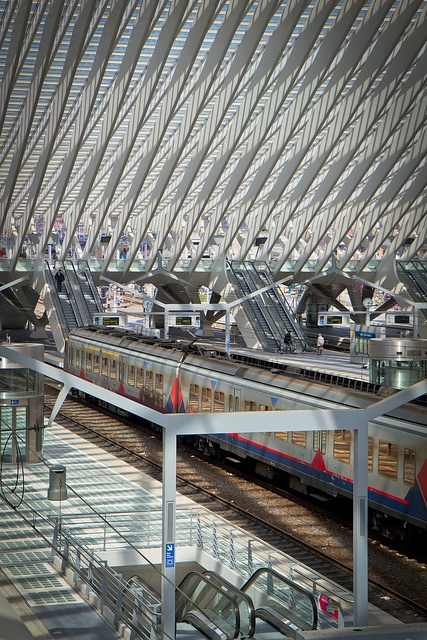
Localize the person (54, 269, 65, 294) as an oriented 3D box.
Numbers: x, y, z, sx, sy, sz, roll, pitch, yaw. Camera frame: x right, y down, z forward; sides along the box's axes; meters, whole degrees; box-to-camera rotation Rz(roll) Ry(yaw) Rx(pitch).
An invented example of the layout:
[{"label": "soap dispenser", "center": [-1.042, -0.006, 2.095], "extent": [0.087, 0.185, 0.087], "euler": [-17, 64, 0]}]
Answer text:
[{"label": "person", "center": [-12.018, -3.031, 40.119], "extent": [0.687, 1.894, 1.022], "euler": [4, -6, -13]}]

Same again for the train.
[{"label": "train", "center": [-1.882, 2.523, 20.784], "extent": [1.835, 5.521, 25.555], "euler": [6, -7, -30]}]
